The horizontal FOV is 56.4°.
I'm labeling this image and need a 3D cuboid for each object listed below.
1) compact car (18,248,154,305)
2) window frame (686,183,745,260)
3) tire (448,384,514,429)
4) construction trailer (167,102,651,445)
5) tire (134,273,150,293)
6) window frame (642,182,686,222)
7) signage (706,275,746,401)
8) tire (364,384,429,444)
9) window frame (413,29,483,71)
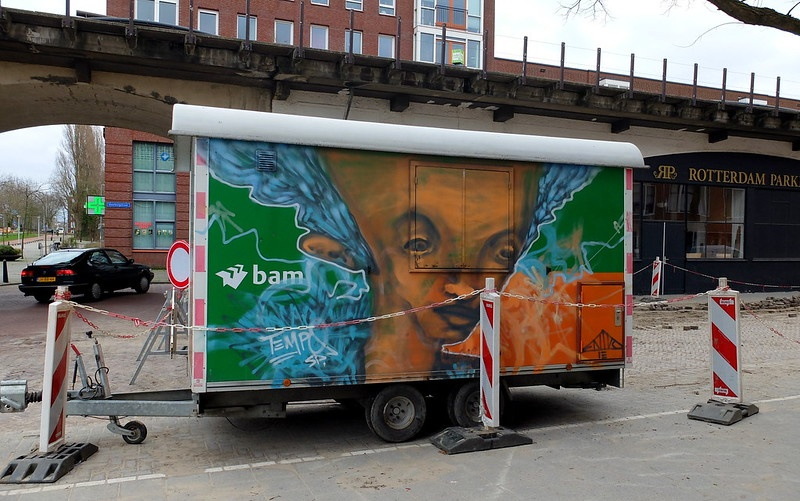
[{"bbox_3d":[-10.539,0.854,25.885,1.840,2.042,4.827,5,12,20],"label":"compact car"},{"bbox_3d":[12.133,-0.963,28.573,0.061,2.937,2.842,0,4,-26],"label":"window frame"},{"bbox_3d":[1.351,2.671,12.929,0.800,0.846,0.294,2,-6,-4],"label":"tire"},{"bbox_3d":[0.457,0.259,14.257,8.546,5.751,2.817,-1,11,-20],"label":"construction trailer"},{"bbox_3d":[-9.572,1.193,27.520,0.216,0.653,0.637,-1,-8,13],"label":"tire"},{"bbox_3d":[9.624,-1.709,27.685,2.188,1.582,1.176,0,-1,-24],"label":"window frame"},{"bbox_3d":[6.054,1.619,13.810,0.723,2.154,0.512,6,12,26],"label":"signage"},{"bbox_3d":[-0.084,2.761,12.744,0.753,0.777,0.238,-23,7,-22],"label":"tire"},{"bbox_3d":[2.940,-11.382,43.594,3.835,1.832,0.124,4,-7,-15],"label":"window frame"}]
